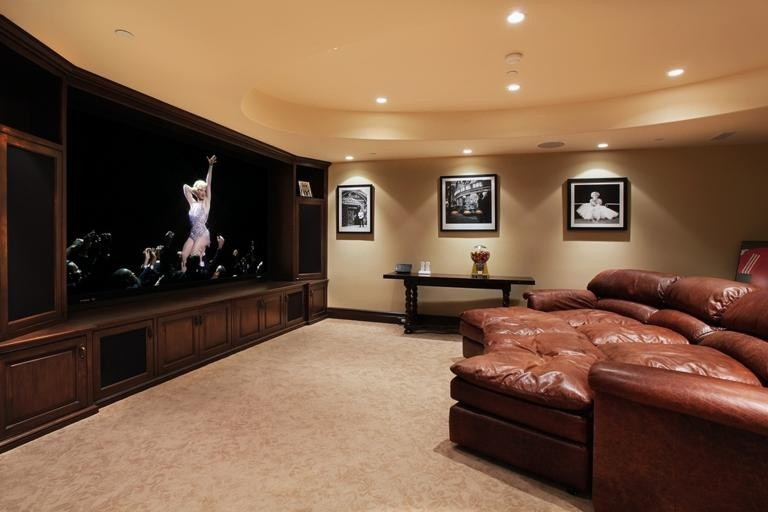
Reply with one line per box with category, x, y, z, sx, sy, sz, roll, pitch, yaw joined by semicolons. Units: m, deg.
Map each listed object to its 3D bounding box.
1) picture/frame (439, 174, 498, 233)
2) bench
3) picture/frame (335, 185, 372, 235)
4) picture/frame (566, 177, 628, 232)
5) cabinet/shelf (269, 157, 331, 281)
picture/frame;1.252;-0.789;6.720;0.871;0.822;0.032;1;0;13
bench;1.109;1.088;3.599;1.120;0.396;1.148;1;5;29
picture/frame;-0.445;-0.743;7.156;0.784;0.978;0.068;0;-1;13
picture/frame;2.920;-0.719;6.308;0.758;0.723;0.074;1;1;13
cabinet/shelf;-1.324;-0.530;7.056;0.479;1.770;0.978;6;9;35
